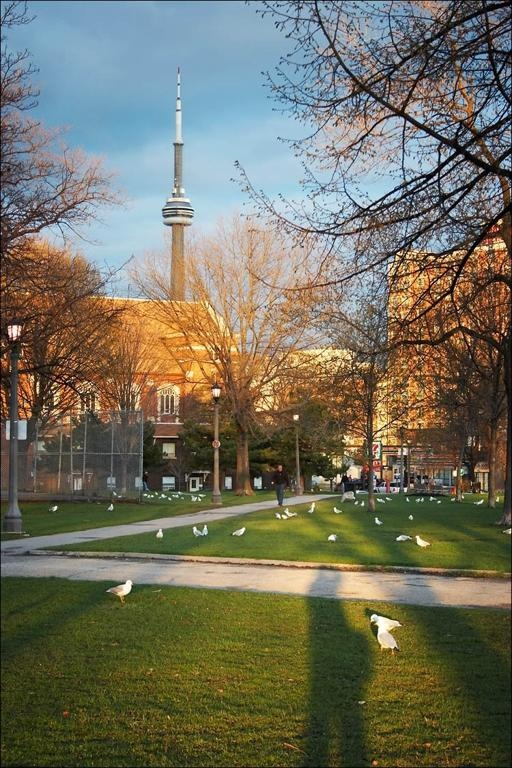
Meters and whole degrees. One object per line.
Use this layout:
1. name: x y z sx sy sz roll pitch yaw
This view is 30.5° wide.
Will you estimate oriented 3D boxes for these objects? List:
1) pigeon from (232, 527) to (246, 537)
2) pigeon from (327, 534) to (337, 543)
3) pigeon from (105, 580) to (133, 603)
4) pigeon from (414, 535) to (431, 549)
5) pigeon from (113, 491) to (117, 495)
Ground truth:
1. pigeon: -0.292 3.201 20.384 0.375 0.238 0.131 14 -13 -36
2. pigeon: 1.557 3.120 19.113 0.092 0.222 0.402 -6 -17 8
3. pigeon: -1.658 2.549 11.617 0.435 0.339 0.187 0 -3 10
4. pigeon: 3.270 3.034 18.135 0.386 0.314 0.166 0 -7 -9
5. pigeon: -5.524 4.258 36.717 0.116 0.165 0.301 -1 -4 -9
